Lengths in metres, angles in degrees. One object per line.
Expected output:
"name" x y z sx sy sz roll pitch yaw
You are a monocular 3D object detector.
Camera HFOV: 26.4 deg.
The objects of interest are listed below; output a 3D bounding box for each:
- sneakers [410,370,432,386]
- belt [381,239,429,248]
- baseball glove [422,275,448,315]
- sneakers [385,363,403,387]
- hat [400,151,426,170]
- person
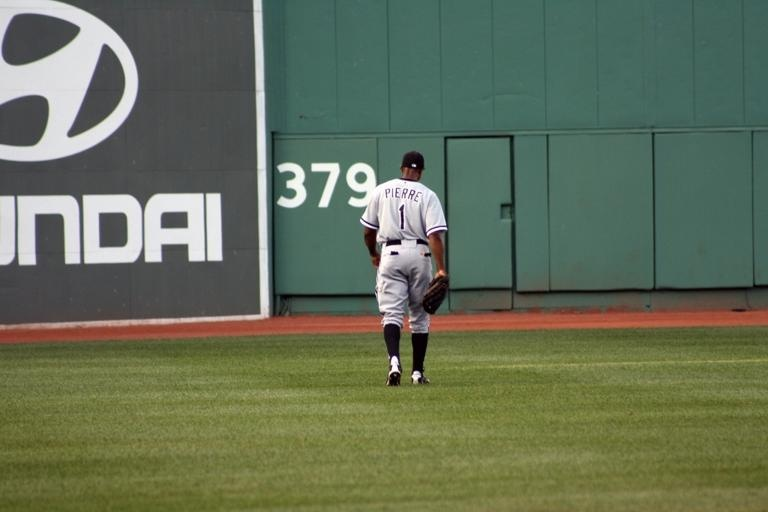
"sneakers" 0.511 1.773 23.724 0.253 0.186 0.252 0 -1 -5
"belt" 0.297 -0.189 23.660 0.610 0.107 0.105 -1 -1 1
"baseball glove" 0.752 0.567 23.592 0.179 0.530 0.360 12 -18 26
"sneakers" 0.118 1.733 23.577 0.209 0.306 0.326 -1 -1 -1
"hat" 0.417 -1.394 23.905 0.237 0.221 0.349 5 22 3
"person" 0.290 0.177 23.742 1.152 3.401 0.559 0 -2 -2
